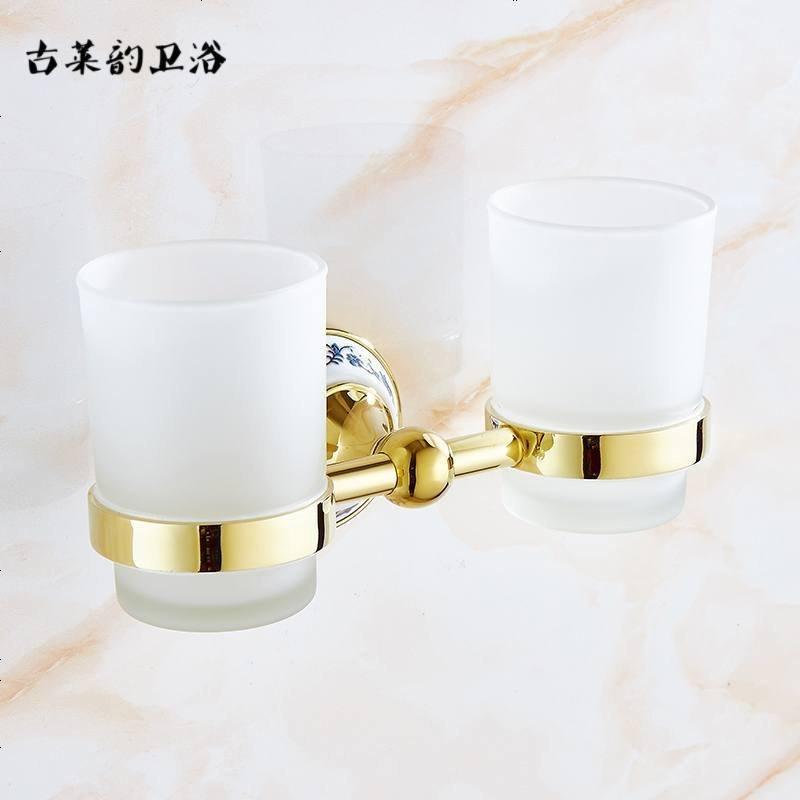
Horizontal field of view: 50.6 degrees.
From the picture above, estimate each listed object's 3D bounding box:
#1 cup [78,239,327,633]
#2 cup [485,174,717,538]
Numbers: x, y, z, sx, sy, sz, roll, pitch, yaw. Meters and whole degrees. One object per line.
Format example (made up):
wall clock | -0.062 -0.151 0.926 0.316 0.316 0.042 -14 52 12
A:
cup | -0.075 0.015 0.341 0.097 0.150 0.100 0 15 0
cup | 0.108 -0.025 0.462 0.123 0.173 0.117 -3 15 1
